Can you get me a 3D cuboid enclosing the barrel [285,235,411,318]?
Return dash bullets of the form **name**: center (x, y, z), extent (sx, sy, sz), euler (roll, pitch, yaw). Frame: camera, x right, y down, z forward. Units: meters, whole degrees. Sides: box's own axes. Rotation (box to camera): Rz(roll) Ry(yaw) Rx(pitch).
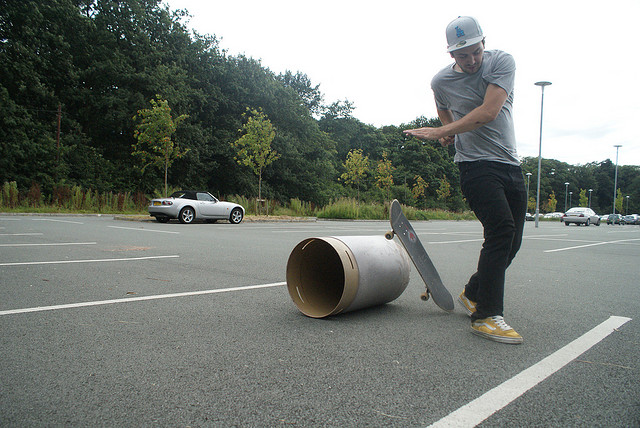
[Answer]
- **barrel**: center (0.317, 0.614, 4.834), extent (1.215, 0.779, 0.754), euler (-4, 9, -39)
